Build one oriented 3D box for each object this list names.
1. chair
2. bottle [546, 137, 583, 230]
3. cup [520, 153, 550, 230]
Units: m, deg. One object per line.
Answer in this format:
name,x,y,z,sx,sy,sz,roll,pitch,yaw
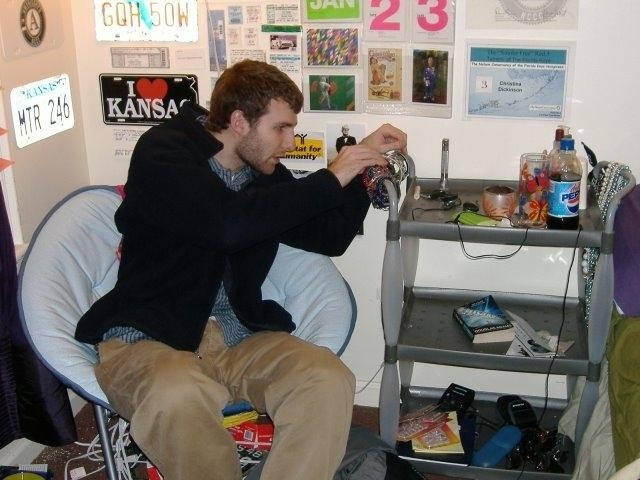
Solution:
chair,-0.556,0.340,2.271,1.164,1.023,1.091,-30,64,-23
bottle,0.827,-0.204,1.747,0.112,0.290,0.269,5,17,24
cup,0.732,-0.175,1.776,0.093,0.219,0.174,5,16,21
